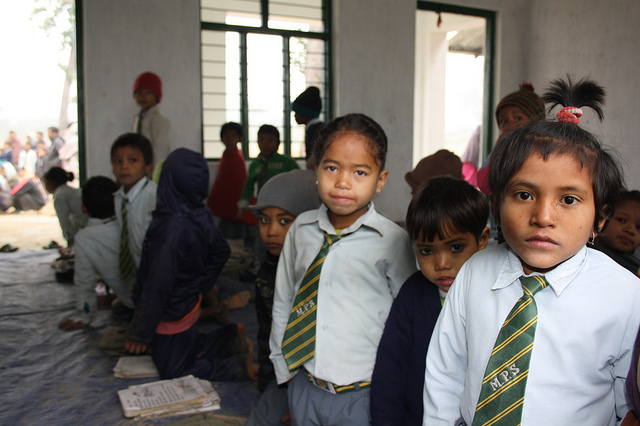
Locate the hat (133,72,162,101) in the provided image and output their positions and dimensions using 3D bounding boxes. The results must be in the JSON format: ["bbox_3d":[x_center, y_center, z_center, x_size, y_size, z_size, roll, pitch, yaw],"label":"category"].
[{"bbox_3d":[-1.718,-1.264,5.280,0.261,0.238,0.258,11,-4,-2],"label":"hat"}]

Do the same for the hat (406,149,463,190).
[{"bbox_3d":[0.732,-0.283,3.311,0.347,0.246,0.319,1,9,10],"label":"hat"}]

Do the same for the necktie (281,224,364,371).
[{"bbox_3d":[-0.018,0.403,2.507,0.222,0.702,0.035,19,-3,16],"label":"necktie"}]

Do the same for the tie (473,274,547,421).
[{"bbox_3d":[0.724,0.545,1.943,0.184,0.662,0.028,16,-3,21],"label":"tie"}]

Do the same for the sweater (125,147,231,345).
[{"bbox_3d":[-0.959,0.197,3.418,0.365,1.243,0.693,6,11,31],"label":"sweater"}]

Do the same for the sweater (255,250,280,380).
[{"bbox_3d":[-0.291,0.568,2.901,0.130,0.701,0.284,-1,10,-7],"label":"sweater"}]

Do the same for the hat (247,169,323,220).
[{"bbox_3d":[-0.184,-0.098,2.939,0.247,0.229,0.374,-13,-8,43],"label":"hat"}]

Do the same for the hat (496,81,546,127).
[{"bbox_3d":[1.462,-0.820,3.766,0.316,0.331,0.872,3,9,19],"label":"hat"}]

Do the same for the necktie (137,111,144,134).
[{"bbox_3d":[-1.771,-0.899,5.096,0.068,0.220,0.219,-4,10,-19],"label":"necktie"}]

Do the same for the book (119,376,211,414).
[{"bbox_3d":[-0.911,1.067,3.033,0.489,0.063,0.264,-3,8,-18],"label":"book"}]

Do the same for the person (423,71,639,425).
[{"bbox_3d":[0.848,0.142,2.099,0.788,1.390,0.620,2,10,11],"label":"person"}]
